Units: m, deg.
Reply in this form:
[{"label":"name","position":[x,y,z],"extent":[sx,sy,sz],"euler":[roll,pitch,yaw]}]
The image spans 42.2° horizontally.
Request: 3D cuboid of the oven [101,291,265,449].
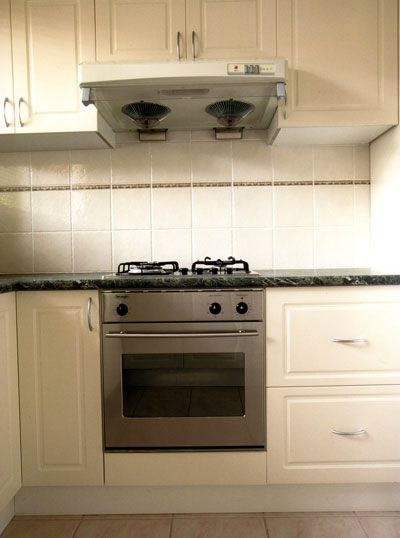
[{"label":"oven","position":[-0.050,0.373,1.965],"extent":[0.597,0.551,0.391],"euler":[-1,-10,2]}]
